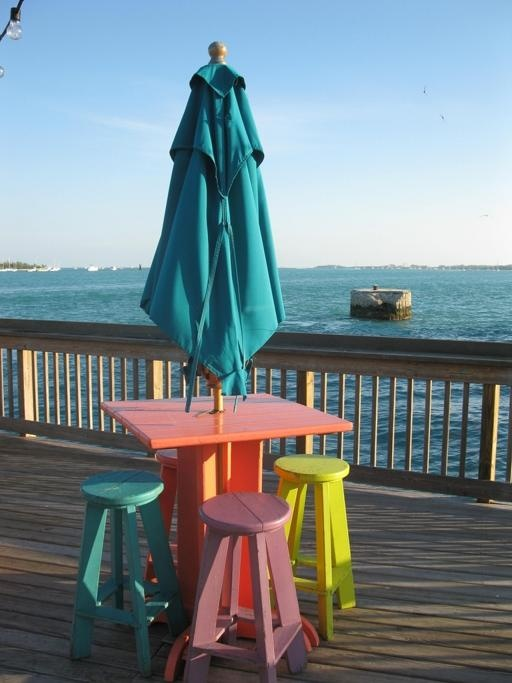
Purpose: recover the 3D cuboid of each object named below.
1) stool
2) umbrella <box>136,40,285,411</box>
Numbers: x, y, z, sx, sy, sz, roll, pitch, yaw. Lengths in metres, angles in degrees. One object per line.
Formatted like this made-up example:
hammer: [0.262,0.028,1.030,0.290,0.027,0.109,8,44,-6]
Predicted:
stool: [-0.269,0.818,3.649,0.880,0.550,0.877,1,4,-4]
umbrella: [-0.150,-0.430,3.364,0.571,1.427,0.302,2,2,-7]
